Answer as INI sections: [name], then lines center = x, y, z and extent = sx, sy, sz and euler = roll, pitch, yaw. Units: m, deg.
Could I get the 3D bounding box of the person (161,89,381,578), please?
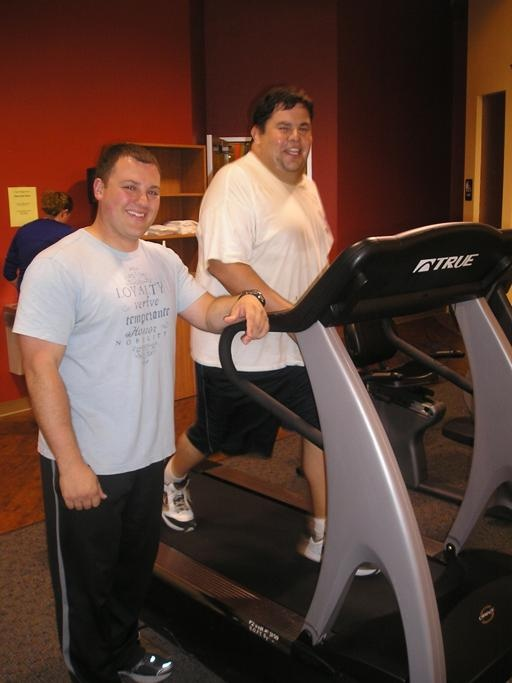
[person]
center = -0.025, -0.022, 1.966
extent = 0.985, 1.515, 0.695
euler = 5, 7, 40

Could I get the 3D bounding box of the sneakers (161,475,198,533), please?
[sneakers]
center = -0.295, 0.599, 2.025
extent = 0.088, 0.107, 0.238
euler = 2, 9, -28
